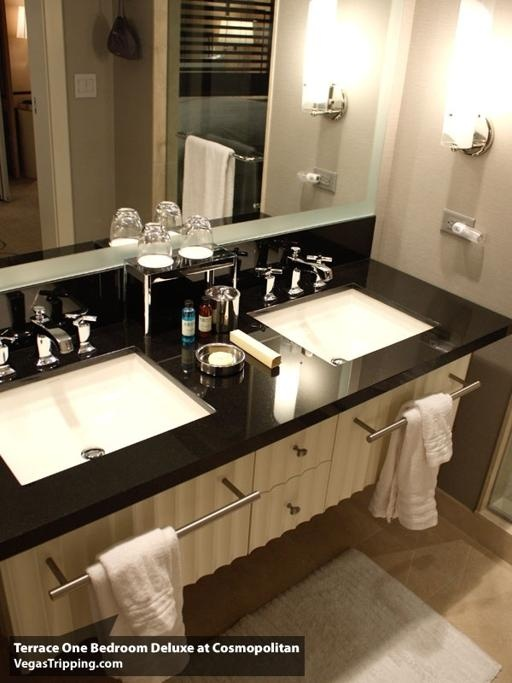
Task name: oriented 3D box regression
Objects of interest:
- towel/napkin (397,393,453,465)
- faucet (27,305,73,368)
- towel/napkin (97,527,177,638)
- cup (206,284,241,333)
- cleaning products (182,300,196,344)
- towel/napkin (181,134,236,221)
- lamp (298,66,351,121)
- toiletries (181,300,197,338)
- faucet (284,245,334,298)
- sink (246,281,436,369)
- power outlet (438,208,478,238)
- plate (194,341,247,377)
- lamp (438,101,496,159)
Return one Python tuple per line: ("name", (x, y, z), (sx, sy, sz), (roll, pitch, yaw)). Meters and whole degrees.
("towel/napkin", (0.457, 0.223, 1.483), (0.187, 0.183, 0.074), (-11, 15, -38))
("faucet", (-0.491, 0.001, 1.252), (0.140, 0.141, 0.059), (28, 36, 31))
("towel/napkin", (-0.178, 0.394, 0.925), (0.159, 0.056, 0.176), (-8, 24, -41))
("cup", (-0.089, -0.085, 1.441), (0.083, 0.109, 0.122), (3, 20, 11))
("cleaning products", (-0.179, -0.045, 1.369), (0.037, 0.110, 0.036), (1, 12, -9))
("towel/napkin", (-0.154, -0.456, 1.525), (0.129, 0.208, 0.030), (5, 17, -7))
("lamp", (0.216, -0.779, 1.680), (0.108, 0.144, 0.117), (27, 43, 36))
("toiletries", (-0.178, -0.059, 1.375), (0.036, 0.106, 0.058), (1, 23, -8))
("faucet", (0.174, -0.227, 1.772), (0.155, 0.166, 0.071), (18, 37, 21))
("sink", (0.258, -0.027, 1.594), (0.453, 0.146, 0.322), (-13, 28, -36))
("power outlet", (0.647, -0.378, 1.694), (0.032, 0.081, 0.125), (-6, 25, -23))
("plate", (-0.092, 0.052, 1.285), (0.090, 0.031, 0.089), (10, 33, 7))
("lamp", (0.615, -0.610, 1.543), (0.084, 0.129, 0.146), (-12, 28, -34))
